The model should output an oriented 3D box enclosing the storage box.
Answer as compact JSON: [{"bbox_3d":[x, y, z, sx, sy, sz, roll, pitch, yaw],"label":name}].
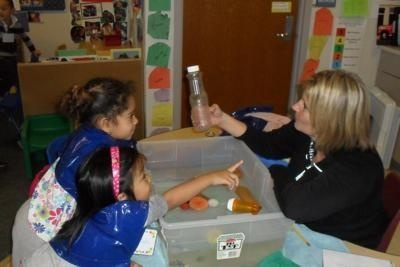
[{"bbox_3d":[0.039,0.273,1.520,0.611,0.185,0.769,-3,22,-16],"label":"storage box"}]

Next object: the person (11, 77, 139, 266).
[{"bbox_3d":[-0.596,0.220,1.518,0.464,0.951,0.493,23,17,31],"label":"person"}]
